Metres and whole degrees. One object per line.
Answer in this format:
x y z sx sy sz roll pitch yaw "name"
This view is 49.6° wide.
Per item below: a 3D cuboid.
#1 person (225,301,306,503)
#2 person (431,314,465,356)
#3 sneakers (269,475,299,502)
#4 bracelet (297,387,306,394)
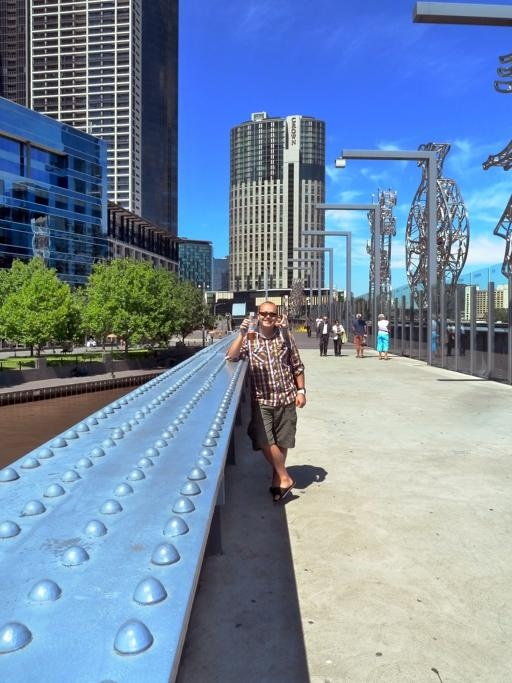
0.139 0.578 5.556 0.703 1.946 0.685 0 2 16 "person"
6.935 -0.200 19.942 0.227 1.038 0.993 6 2 -24 "person"
0.258 1.471 5.506 0.225 0.166 0.389 0 2 1 "sneakers"
0.456 0.502 5.576 0.066 0.053 0.066 -3 7 -37 "bracelet"
